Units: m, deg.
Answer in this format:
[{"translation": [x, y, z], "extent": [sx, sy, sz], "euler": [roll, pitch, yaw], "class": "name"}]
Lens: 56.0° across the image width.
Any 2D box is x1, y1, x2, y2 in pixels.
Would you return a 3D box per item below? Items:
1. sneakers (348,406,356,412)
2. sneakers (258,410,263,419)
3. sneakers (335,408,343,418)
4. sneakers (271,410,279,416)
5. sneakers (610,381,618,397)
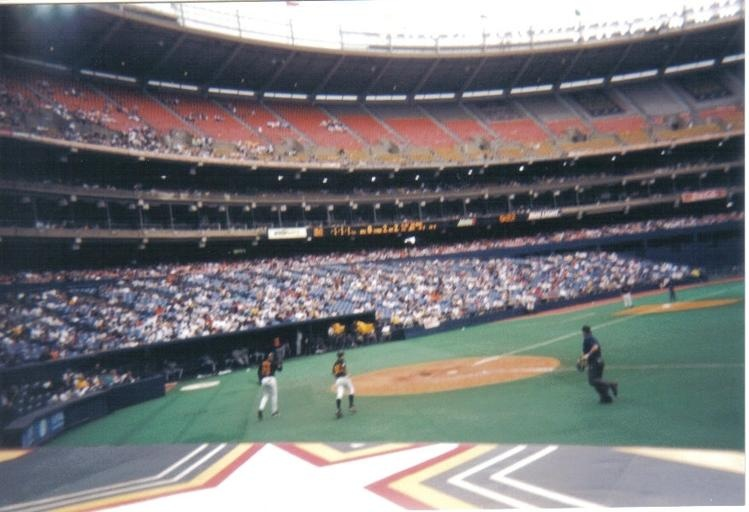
[{"translation": [-0.525, 3.793, 17.514], "extent": [0.188, 0.149, 0.135], "euler": [-4, -10, -36], "class": "sneakers"}, {"translation": [-2.837, 3.955, 17.574], "extent": [0.130, 0.219, 0.088], "euler": [-3, -3, 9], "class": "sneakers"}, {"translation": [-0.840, 3.883, 17.406], "extent": [0.260, 0.253, 0.196], "euler": [-1, 3, -1], "class": "sneakers"}, {"translation": [-2.465, 3.921, 17.645], "extent": [0.188, 0.155, 0.116], "euler": [-7, -8, -18], "class": "sneakers"}, {"translation": [5.830, 3.287, 17.203], "extent": [0.159, 0.217, 0.363], "euler": [-5, -38, -9], "class": "sneakers"}]
